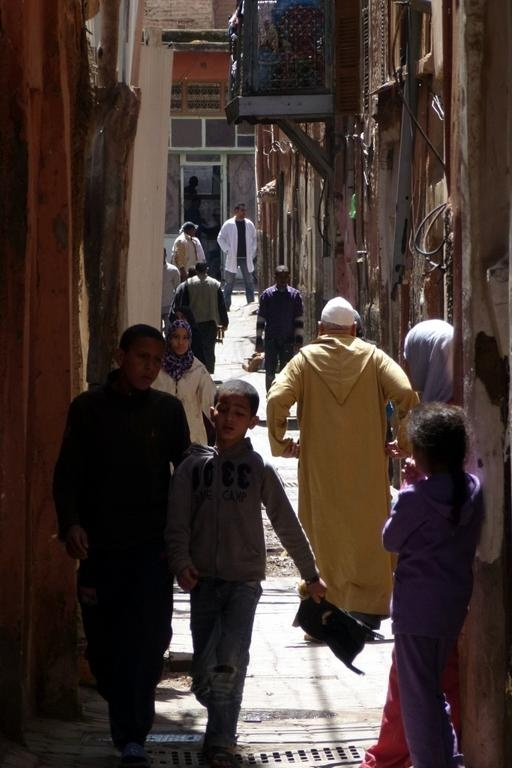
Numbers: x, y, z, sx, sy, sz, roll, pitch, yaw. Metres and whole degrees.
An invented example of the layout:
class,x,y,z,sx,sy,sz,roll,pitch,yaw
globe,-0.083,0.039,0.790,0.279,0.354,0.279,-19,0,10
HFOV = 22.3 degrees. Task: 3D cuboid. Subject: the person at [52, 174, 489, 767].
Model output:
class,x,y,z,sx,sy,sz,roll,pitch,yaw
person,0.071,0.540,3.822,1.234,1.069,0.528,5,4,36
